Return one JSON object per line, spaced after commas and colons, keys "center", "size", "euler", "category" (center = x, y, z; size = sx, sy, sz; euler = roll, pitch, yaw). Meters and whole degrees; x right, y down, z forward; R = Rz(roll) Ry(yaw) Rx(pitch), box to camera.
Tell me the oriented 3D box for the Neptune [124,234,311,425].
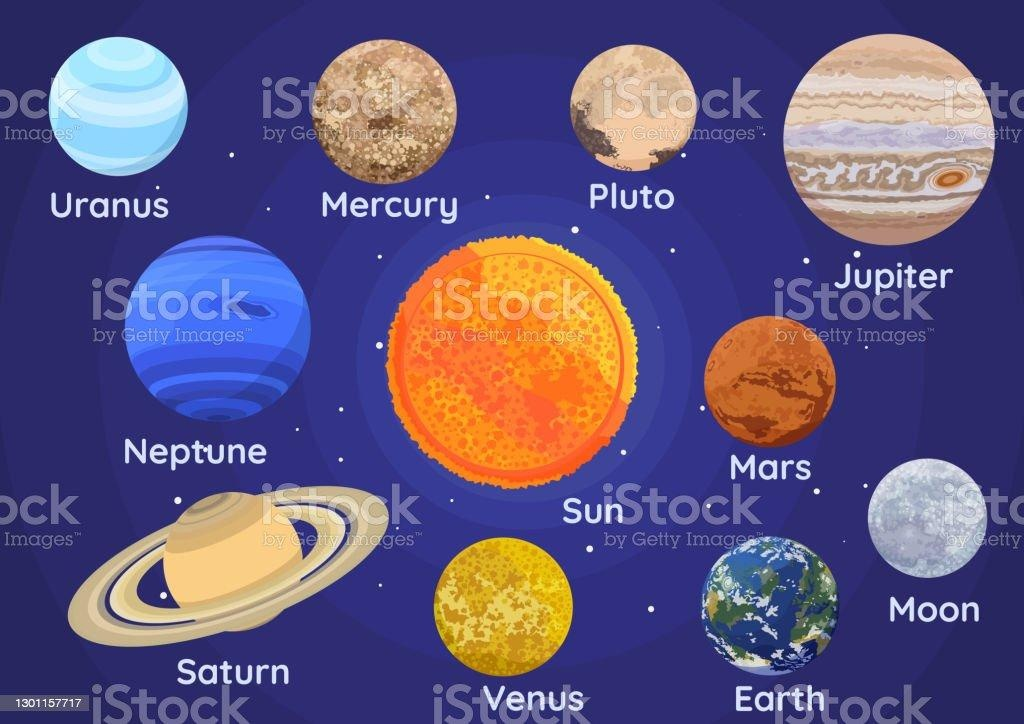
{"center": [-1.566, -0.190, 5.961], "size": [0.970, 0.102, 0.943], "euler": [0, 83, 2], "category": "Neptune"}
